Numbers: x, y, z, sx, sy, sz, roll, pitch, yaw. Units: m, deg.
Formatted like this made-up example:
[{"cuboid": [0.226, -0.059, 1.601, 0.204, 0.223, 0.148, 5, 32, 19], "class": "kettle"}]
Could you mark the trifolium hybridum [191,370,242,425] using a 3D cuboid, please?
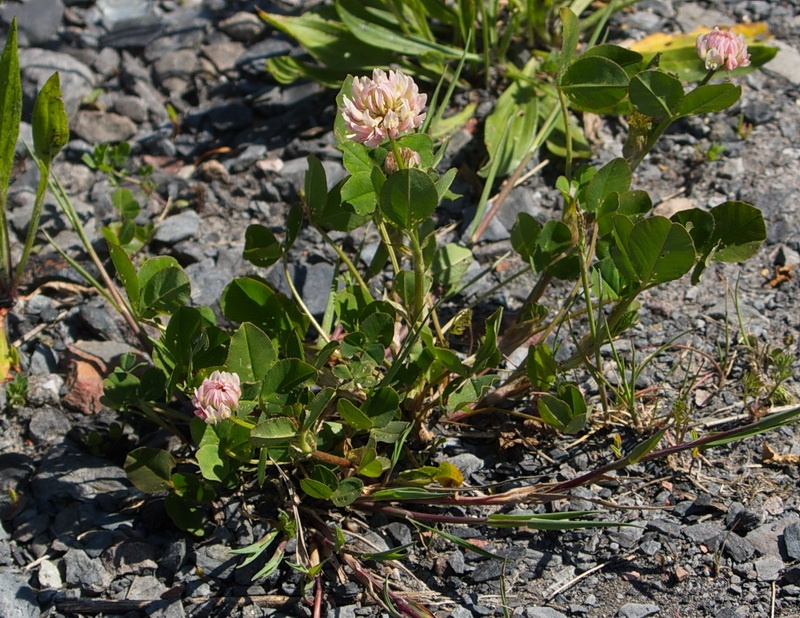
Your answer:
[{"cuboid": [-0.506, 0.264, 2.349, 0.121, 0.111, 0.161, 2, 8, -6], "class": "trifolium hybridum"}]

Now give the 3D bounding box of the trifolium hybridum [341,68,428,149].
[{"cuboid": [-0.042, -0.545, 2.347, 0.199, 0.116, 0.215, -28, 78, -2], "class": "trifolium hybridum"}]

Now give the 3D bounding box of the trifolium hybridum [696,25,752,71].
[{"cuboid": [0.961, -0.787, 2.571, 0.148, 0.110, 0.151, -6, 45, -16], "class": "trifolium hybridum"}]
